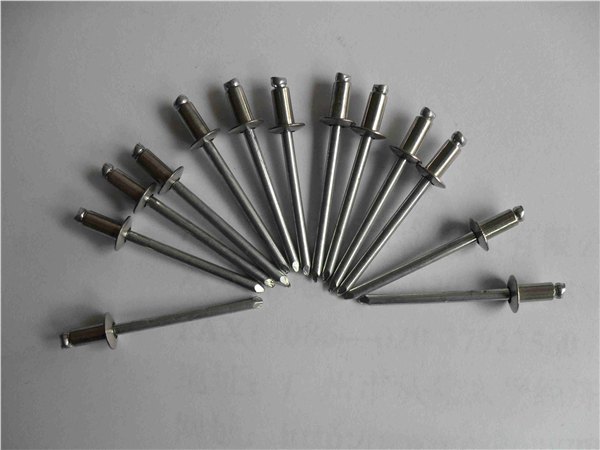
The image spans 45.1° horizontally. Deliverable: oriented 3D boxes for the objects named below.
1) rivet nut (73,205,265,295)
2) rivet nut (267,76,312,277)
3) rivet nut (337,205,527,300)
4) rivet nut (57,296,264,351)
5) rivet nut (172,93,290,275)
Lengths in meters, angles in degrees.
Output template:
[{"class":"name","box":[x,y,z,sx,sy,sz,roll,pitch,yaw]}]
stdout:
[{"class":"rivet nut","box":[-0.613,0.131,3.404,0.593,0.163,0.158,23,-16,5]},{"class":"rivet nut","box":[0.038,-0.223,3.375,0.211,0.889,0.211,-5,3,35]},{"class":"rivet nut","box":[0.590,0.147,3.417,0.619,0.143,0.142,-28,12,-4]},{"class":"rivet nut","box":[-0.661,0.468,3.405,0.556,0.147,0.143,-11,3,3]},{"class":"rivet nut","box":[-0.322,-0.154,3.405,0.161,0.893,0.165,-29,0,-1]}]
